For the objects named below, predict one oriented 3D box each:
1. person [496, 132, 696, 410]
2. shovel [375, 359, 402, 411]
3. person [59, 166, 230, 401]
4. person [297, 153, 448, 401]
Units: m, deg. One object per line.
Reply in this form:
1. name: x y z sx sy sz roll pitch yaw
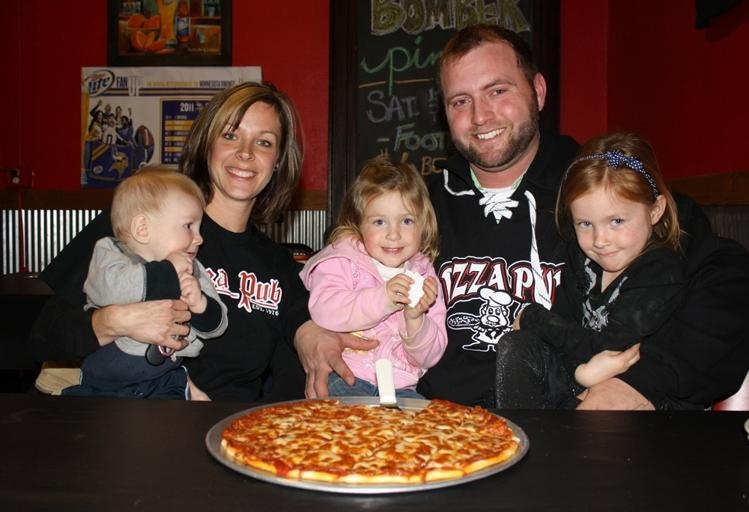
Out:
1. person: 0.842 0.207 2.395 0.733 1.227 0.601 -12 19 -23
2. shovel: 0.025 0.361 1.695 0.050 0.161 0.028 -2 38 9
3. person: -0.815 0.114 2.208 0.505 0.851 0.370 0 9 0
4. person: -0.005 0.077 2.488 0.598 0.931 0.544 1 9 4
